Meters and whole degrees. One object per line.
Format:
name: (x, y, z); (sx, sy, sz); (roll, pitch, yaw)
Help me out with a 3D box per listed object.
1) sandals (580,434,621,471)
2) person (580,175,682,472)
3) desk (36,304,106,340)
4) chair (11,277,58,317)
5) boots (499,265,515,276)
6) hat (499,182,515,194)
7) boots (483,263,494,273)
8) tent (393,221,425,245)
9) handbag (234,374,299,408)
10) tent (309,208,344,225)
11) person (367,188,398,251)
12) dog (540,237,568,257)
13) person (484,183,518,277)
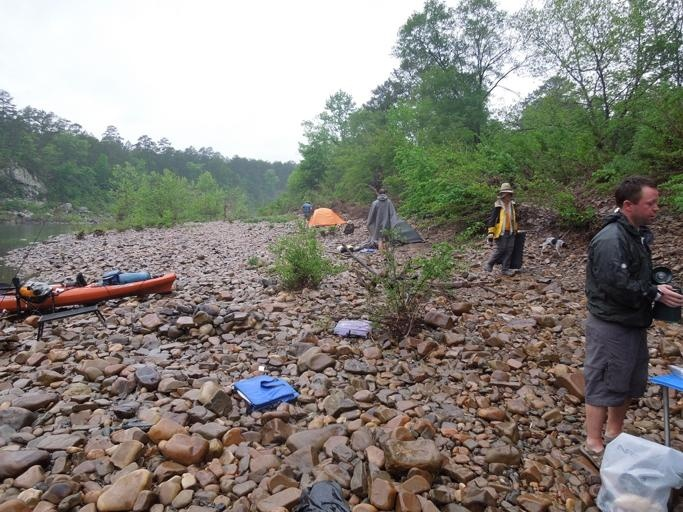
sandals: (2.504, 1.969, 4.472); (0.213, 0.201, 0.531); (-7, -5, -4)
person: (2.801, 0.633, 4.459); (0.697, 2.482, 0.377); (4, 3, 4)
desk: (-4.419, 1.002, 7.304); (0.909, 0.423, 1.237); (2, 4, -34)
chair: (-5.147, 0.651, 7.544); (0.711, 0.698, 0.454); (-2, 10, -5)
boots: (3.346, 0.309, 9.048); (0.269, 0.248, 0.142); (-1, 2, 14)
hat: (3.405, -1.386, 9.231); (0.229, 0.271, 0.777); (5, 3, 21)
boots: (3.054, 0.247, 9.307); (0.216, 0.160, 0.301); (-6, -3, 8)
tent: (1.958, -0.688, 12.400); (0.853, 0.349, 1.072); (0, 18, -3)
handbag: (-0.890, 1.610, 5.327); (0.437, 0.126, 0.410); (0, 13, -29)
tent: (-0.671, -1.678, 20.016); (1.199, 0.416, 0.948); (-2, 6, -20)
person: (1.168, -1.170, 13.152); (0.984, 1.612, 0.919); (6, 4, 27)
dog: (4.722, -0.208, 9.943); (0.536, 0.308, 0.511); (5, 3, 22)
person: (3.288, -0.559, 9.101); (0.572, 1.276, 0.398); (5, 3, 16)
